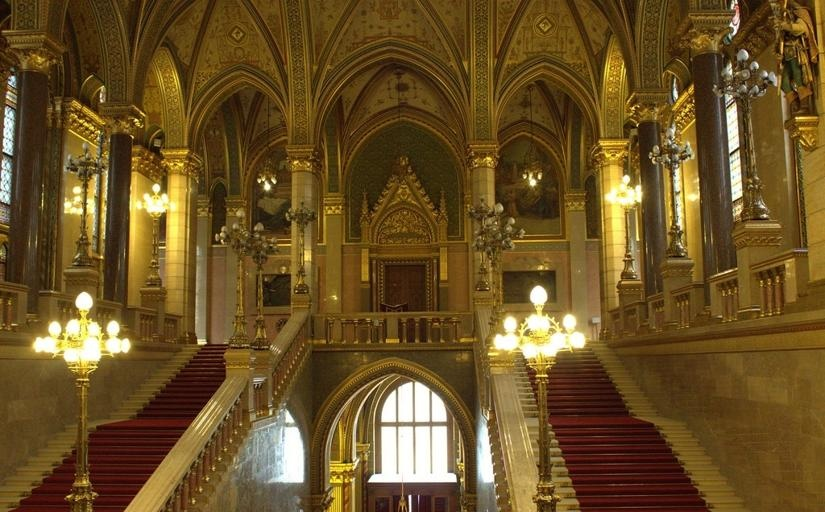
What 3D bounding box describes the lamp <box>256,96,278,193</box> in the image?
[{"bbox_3d":[-5.504,-4.198,28.072,0.687,3.242,0.730,4,12,-23],"label":"lamp"}]
